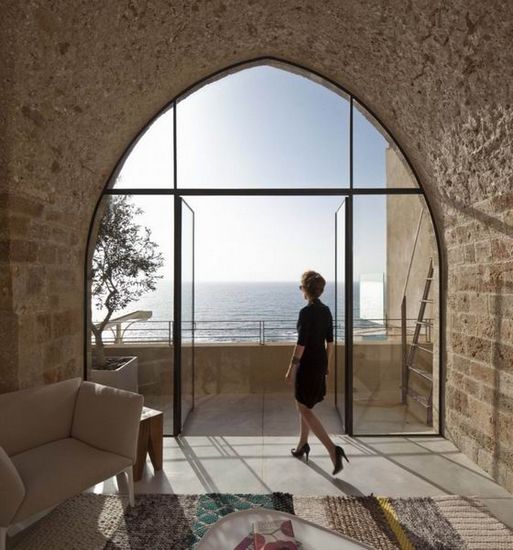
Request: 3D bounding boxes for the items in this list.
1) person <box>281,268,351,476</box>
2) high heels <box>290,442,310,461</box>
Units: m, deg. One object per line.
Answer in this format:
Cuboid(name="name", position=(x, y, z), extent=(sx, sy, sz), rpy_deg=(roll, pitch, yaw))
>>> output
Cuboid(name="person", position=(0.430, 0.716, 3.882), extent=(0.376, 1.467, 0.449), rpy_deg=(1, 3, 14))
Cuboid(name="high heels", position=(0.342, 1.402, 3.926), extent=(0.062, 0.141, 0.233), rpy_deg=(1, -5, -15))
